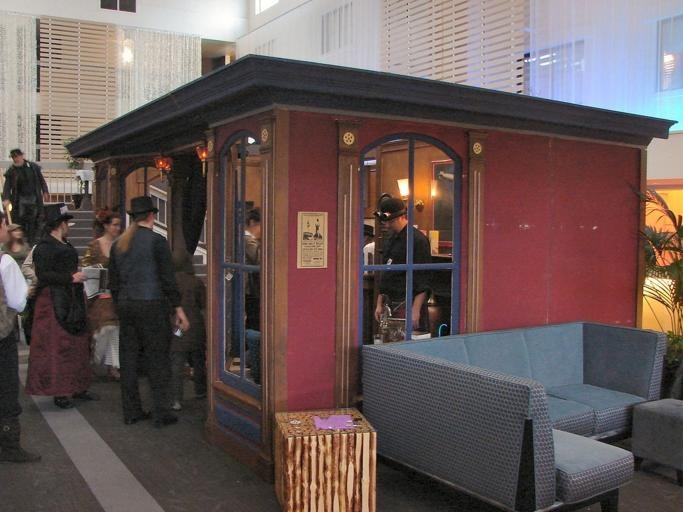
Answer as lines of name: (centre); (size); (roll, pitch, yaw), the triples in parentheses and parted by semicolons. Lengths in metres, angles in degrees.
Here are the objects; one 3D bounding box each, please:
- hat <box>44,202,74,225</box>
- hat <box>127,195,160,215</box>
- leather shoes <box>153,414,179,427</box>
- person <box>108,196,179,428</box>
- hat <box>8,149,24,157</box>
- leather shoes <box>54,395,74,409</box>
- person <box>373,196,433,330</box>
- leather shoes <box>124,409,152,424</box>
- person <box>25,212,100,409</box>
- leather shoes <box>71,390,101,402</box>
hat: (-2.918, -0.426, 7.457); (0.312, 0.168, 0.234); (-12, 3, 31)
hat: (-1.899, -0.518, 7.096); (0.182, 0.121, 0.242); (-6, 8, 30)
leather shoes: (-1.682, 1.572, 7.056); (0.167, 0.049, 0.113); (8, -1, -11)
person: (-1.860, 0.532, 7.047); (0.727, 2.158, 0.478); (2, 12, 18)
hat: (-5.048, -1.608, 11.432); (0.131, 0.136, 0.350); (-9, 14, -29)
leather shoes: (-2.856, 1.520, 7.653); (0.253, 0.186, 0.102); (-4, -6, 20)
person: (0.533, 0.068, 6.472); (0.574, 1.240, 0.132); (-6, 12, -21)
leather shoes: (-1.977, 1.556, 7.176); (0.101, 0.055, 0.203); (-1, 2, 24)
person: (-2.926, 0.501, 7.642); (0.712, 2.046, 0.698); (-1, 4, -24)
leather shoes: (-2.728, 1.495, 7.866); (0.305, 0.110, 0.114); (-3, 7, -11)
